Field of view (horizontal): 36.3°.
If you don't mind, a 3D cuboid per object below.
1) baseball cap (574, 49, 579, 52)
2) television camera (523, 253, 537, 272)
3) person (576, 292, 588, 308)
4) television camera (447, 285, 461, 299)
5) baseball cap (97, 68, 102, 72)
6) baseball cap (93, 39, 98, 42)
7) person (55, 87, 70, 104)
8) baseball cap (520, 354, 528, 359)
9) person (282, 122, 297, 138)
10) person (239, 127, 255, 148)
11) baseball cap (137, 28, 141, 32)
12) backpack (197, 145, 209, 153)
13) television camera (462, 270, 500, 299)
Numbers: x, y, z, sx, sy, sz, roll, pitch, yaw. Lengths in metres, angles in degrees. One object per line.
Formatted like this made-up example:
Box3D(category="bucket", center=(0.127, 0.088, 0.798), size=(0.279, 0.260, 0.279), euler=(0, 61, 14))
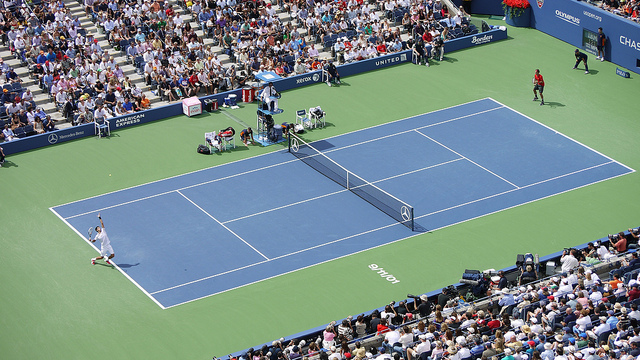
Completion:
Box3D(category="baseball cap", center=(21.322, -10.618, 80.523), size=(0.355, 0.134, 0.463), euler=(-5, 9, -2))
Box3D(category="television camera", center=(13.210, 5.104, 61.116), size=(0.668, 0.446, 1.119), euler=(-2, 69, 3))
Box3D(category="person", center=(15.374, 6.978, 56.978), size=(0.668, 0.777, 0.454), euler=(-13, 12, 5))
Box3D(category="television camera", center=(8.294, 6.835, 59.666), size=(0.676, 0.988, 0.921), euler=(-11, 30, 7))
Box3D(category="baseball cap", center=(-17.155, -8.513, 76.305), size=(0.341, 0.190, 0.332), euler=(0, 32, 23))
Box3D(category="baseball cap", center=(-17.934, -11.142, 78.628), size=(0.339, 0.150, 0.268), euler=(13, 4, -21))
Box3D(category="person", center=(-19.549, -6.341, 74.701), size=(1.055, 1.061, 0.744), euler=(13, 40, 40))
Box3D(category="baseball cap", center=(11.410, 9.695, 54.060), size=(0.349, 0.262, 0.310), euler=(-8, 30, 11))
Box3D(category="person", center=(-2.295, -3.833, 73.582), size=(0.721, 0.409, 1.138), euler=(-16, 28, -18))
Box3D(category="person", center=(-5.456, -3.118, 73.852), size=(0.935, 1.193, 1.045), euler=(-26, 62, -28))
Box3D(category="baseball cap", center=(-14.700, -12.194, 79.855), size=(0.194, 0.227, 0.350), euler=(-15, 29, 1))
Box3D(category="backpack", center=(-8.613, -2.254, 72.749), size=(0.548, 0.194, 0.527), euler=(13, 24, 25))
Box3D(category="television camera", center=(10.099, 6.415, 61.064), size=(1.631, 0.976, 1.917), euler=(1, 7, 3))
